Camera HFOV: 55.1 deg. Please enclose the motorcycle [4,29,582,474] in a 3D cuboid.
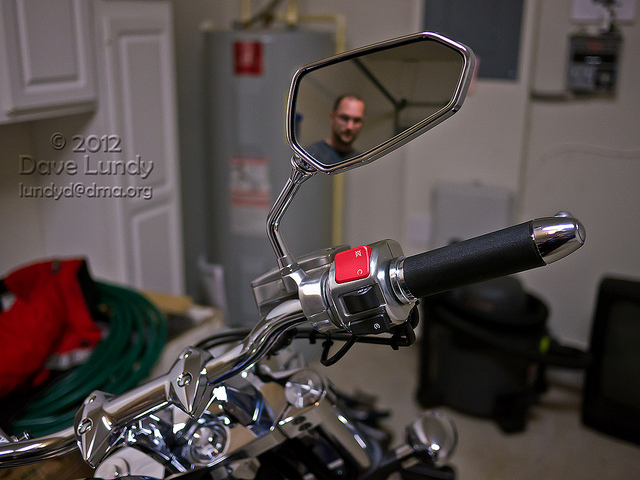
[{"bbox_3d":[-0.027,0.019,0.799,0.784,0.433,0.459,-8,13,37],"label":"motorcycle"}]
